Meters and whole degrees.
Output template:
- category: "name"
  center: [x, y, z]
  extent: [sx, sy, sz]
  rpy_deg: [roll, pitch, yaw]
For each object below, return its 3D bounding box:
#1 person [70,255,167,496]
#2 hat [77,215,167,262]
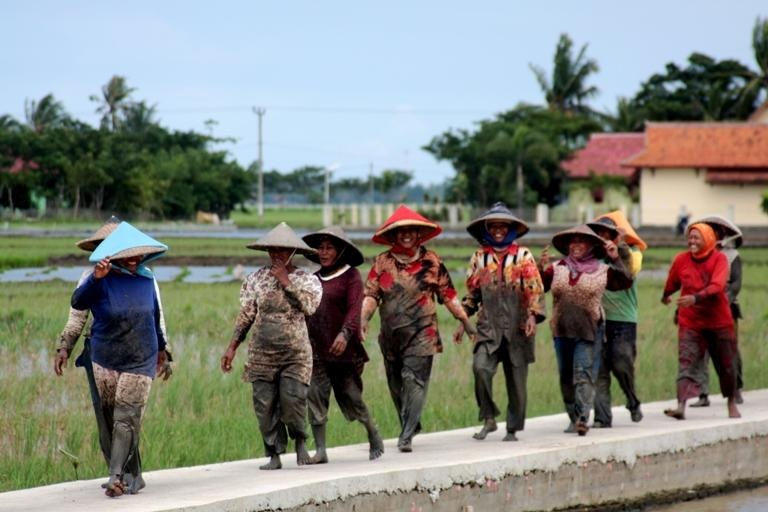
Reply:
- category: "person"
  center: [-3.798, 1.718, 28.061]
  extent: [1.048, 3.417, 0.594]
  rpy_deg: [-1, -1, -10]
- category: "hat"
  center: [-3.847, -0.202, 28.285]
  extent: [0.900, 0.375, 0.751]
  rpy_deg: [0, -2, 16]
